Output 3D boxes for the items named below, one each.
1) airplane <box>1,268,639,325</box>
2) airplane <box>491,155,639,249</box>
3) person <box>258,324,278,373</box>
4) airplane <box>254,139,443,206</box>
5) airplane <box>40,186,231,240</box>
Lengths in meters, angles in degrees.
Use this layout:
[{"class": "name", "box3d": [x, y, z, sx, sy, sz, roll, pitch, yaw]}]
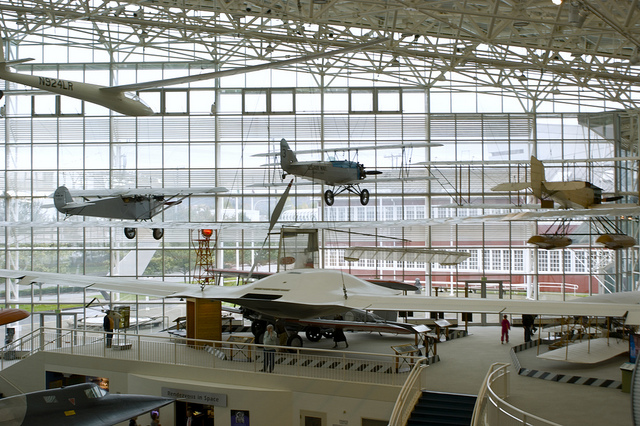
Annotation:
[{"class": "airplane", "box3d": [0.113, 3.793, 42.183, 26.982, 2.351, 4.062, -2, -3, 16]}, {"class": "airplane", "box3d": [13.604, -0.235, 48.097, 7.394, 2.828, 6.411, 2, -2, 41]}, {"class": "person", "box3d": [-2.504, 6.618, 44.653, 0.749, 2.235, 0.998, -1, -4, -2]}, {"class": "airplane", "box3d": [0.390, -2.279, 53.564, 5.990, 2.238, 7.984, 3, -11, 26]}, {"class": "airplane", "box3d": [-11.002, -0.147, 54.152, 10.107, 3.471, 5.646, -2, -3, 15]}]
